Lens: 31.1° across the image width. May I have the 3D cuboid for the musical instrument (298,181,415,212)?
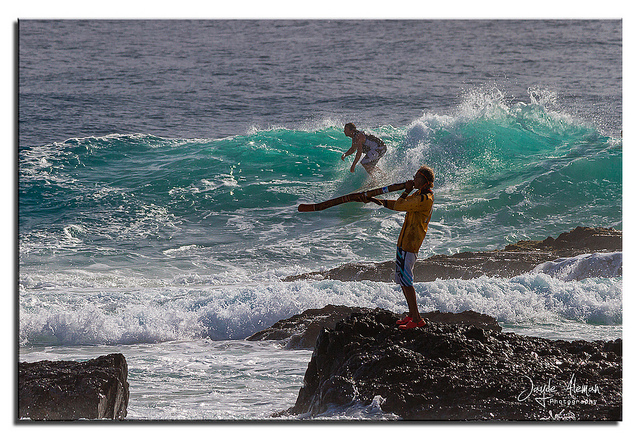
[{"bbox_3d":[0.692,-0.459,21.869,2.266,0.266,0.207,-14,-13,18],"label":"musical instrument"}]

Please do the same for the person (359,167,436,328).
[{"bbox_3d":[1.658,0.523,22.163,1.239,3.100,0.624,6,-3,-24],"label":"person"}]

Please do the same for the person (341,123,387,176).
[{"bbox_3d":[1.199,-1.708,28.920,0.541,1.025,1.090,2,-3,32],"label":"person"}]
